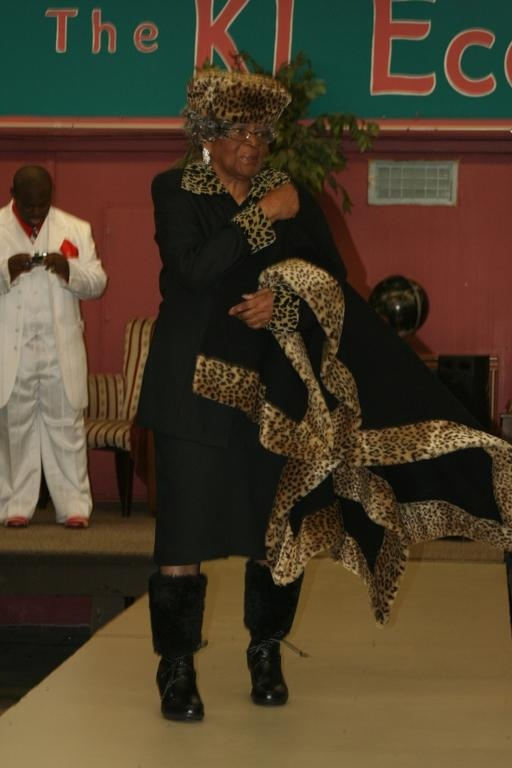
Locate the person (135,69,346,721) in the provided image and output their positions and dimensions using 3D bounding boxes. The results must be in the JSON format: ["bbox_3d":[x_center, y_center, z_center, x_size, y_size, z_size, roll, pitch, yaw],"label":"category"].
[{"bbox_3d":[-0.031,0.004,1.911,0.543,1.461,0.511,-2,-3,32],"label":"person"}]

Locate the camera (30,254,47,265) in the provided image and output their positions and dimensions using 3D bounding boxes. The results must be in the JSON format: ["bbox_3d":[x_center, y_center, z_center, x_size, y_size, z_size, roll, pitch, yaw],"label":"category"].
[{"bbox_3d":[-1.118,-0.660,4.105,0.087,0.070,0.020,1,-18,-3],"label":"camera"}]

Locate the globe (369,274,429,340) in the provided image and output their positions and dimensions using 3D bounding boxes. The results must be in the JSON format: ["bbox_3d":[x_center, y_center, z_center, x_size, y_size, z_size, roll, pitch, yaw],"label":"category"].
[{"bbox_3d":[0.928,-0.513,5.045,0.464,0.405,0.238,4,-2,-42],"label":"globe"}]

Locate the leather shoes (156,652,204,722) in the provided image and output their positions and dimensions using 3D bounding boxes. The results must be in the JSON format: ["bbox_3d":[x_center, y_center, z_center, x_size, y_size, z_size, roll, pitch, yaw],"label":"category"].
[{"bbox_3d":[-0.180,0.693,1.862,0.092,0.159,0.251,2,-2,-12],"label":"leather shoes"}]

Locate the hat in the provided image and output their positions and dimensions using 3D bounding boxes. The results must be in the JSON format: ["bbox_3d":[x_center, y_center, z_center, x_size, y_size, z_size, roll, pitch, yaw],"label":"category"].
[{"bbox_3d":[-0.034,-0.669,1.865,0.229,0.123,0.179,-1,23,-26],"label":"hat"}]
